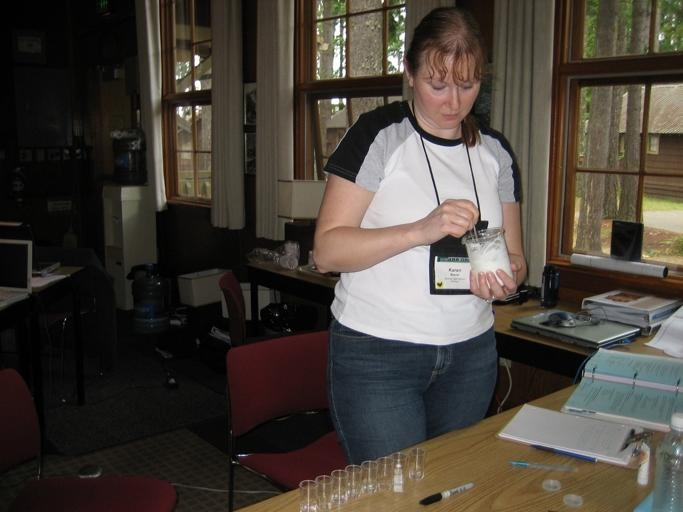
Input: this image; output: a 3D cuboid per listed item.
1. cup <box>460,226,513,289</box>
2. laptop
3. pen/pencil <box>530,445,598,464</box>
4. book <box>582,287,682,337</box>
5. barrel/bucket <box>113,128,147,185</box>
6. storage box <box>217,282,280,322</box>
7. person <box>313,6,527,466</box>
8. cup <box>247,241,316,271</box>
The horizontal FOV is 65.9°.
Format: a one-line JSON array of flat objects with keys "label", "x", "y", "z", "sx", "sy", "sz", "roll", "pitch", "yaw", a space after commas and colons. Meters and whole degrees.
[{"label": "cup", "x": 0.398, "y": 0.003, "z": 1.495, "sx": 0.126, "sy": 0.139, "sz": 0.129, "roll": -18, "pitch": 4, "yaw": 1}, {"label": "laptop", "x": 1.157, "y": 0.348, "z": 2.606, "sx": 0.557, "sy": 0.085, "sz": 0.541, "roll": 6, "pitch": 11, "yaw": 41}, {"label": "pen/pencil", "x": 0.590, "y": 0.520, "z": 1.391, "sx": 0.155, "sy": 0.017, "sz": 0.012, "roll": 3, "pitch": 10, "yaw": 28}, {"label": "book", "x": 1.508, "y": 0.259, "z": 2.700, "sx": 0.271, "sy": 0.075, "sz": 0.266, "roll": -14, "pitch": 19, "yaw": -35}, {"label": "barrel/bucket", "x": -2.672, "y": -1.247, "z": 6.594, "sx": 0.503, "sy": 0.707, "sz": 0.299, "roll": 6, "pitch": 12, "yaw": 42}, {"label": "storage box", "x": -0.795, "y": 0.414, "z": 5.134, "sx": 0.519, "sy": 0.269, "sz": 0.533, "roll": -9, "pitch": -11, "yaw": 17}, {"label": "person", "x": 0.246, "y": -0.063, "z": 1.492, "sx": 0.652, "sy": 1.235, "sz": 0.381, "roll": -2, "pitch": 8, "yaw": -4}, {"label": "cup", "x": -0.509, "y": -0.006, "z": 4.283, "sx": 0.454, "sy": 0.164, "sz": 0.311, "roll": 10, "pitch": 7, "yaw": 35}]
